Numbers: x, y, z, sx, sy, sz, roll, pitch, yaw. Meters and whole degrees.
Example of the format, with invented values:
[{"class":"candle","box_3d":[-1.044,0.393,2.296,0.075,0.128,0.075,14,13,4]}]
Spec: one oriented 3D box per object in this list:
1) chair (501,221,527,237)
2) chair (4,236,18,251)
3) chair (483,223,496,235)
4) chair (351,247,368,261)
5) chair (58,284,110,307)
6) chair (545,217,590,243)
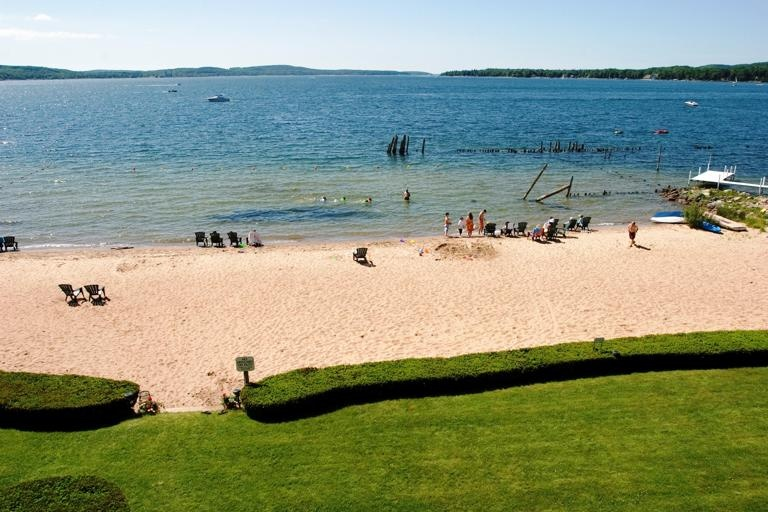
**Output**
[{"class":"chair","box_3d":[9.076,-2.005,48.412,1.539,0.971,1.773,2,25,7]},{"class":"chair","box_3d":[-24.961,-0.844,46.119,0.776,0.889,1.171,-9,18,-26]},{"class":"chair","box_3d":[7.360,-1.916,48.038,1.140,0.993,0.845,3,32,9]},{"class":"chair","box_3d":[-1.468,-0.150,42.704,0.936,0.732,0.885,-2,16,-4]},{"class":"chair","box_3d":[-16.273,2.084,37.742,2.854,0.987,1.191,-3,30,-10]},{"class":"chair","box_3d":[12.841,-1.771,48.081,3.133,0.730,0.816,-8,17,-25]}]
